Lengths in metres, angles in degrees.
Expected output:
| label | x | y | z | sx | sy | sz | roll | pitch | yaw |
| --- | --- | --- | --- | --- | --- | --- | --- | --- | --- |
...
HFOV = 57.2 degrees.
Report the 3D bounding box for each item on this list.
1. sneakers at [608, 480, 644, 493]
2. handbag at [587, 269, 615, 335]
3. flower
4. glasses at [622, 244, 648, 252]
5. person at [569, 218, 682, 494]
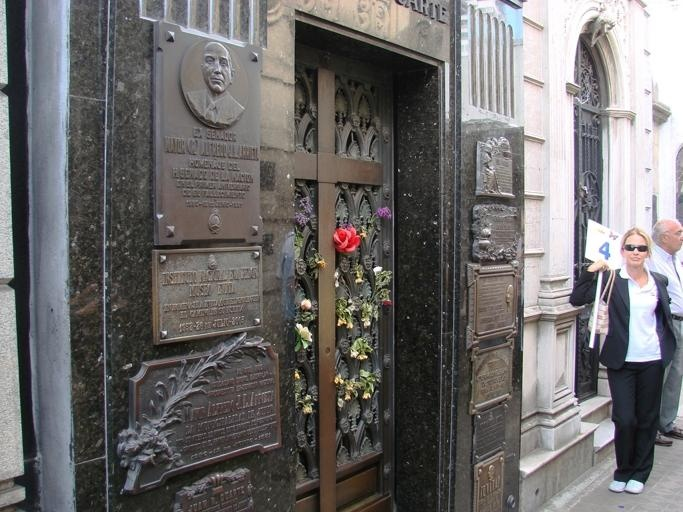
| label | x | y | z | sx | sy | sz | roll | pitch | yaw |
| --- | --- | --- | --- | --- | --- | --- | --- | --- | --- |
| sneakers | 2.396 | 1.952 | 5.280 | 0.177 | 0.069 | 0.134 | -1 | 5 | 7 |
| handbag | 2.167 | 0.399 | 5.175 | 0.103 | 0.530 | 0.279 | 11 | 8 | 36 |
| flower | 0.021 | 0.312 | 4.211 | 0.203 | 1.421 | 0.887 | 3 | 5 | 39 |
| glasses | 2.430 | -0.060 | 5.190 | 0.202 | 0.072 | 0.119 | 3 | 6 | 27 |
| person | 2.395 | 0.888 | 5.285 | 0.742 | 2.219 | 0.345 | -1 | 4 | -12 |
